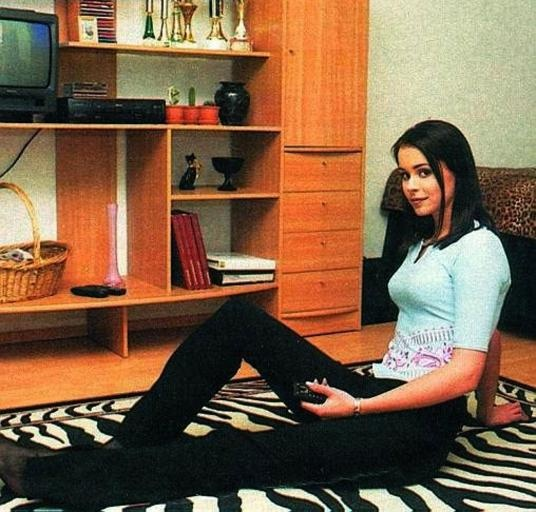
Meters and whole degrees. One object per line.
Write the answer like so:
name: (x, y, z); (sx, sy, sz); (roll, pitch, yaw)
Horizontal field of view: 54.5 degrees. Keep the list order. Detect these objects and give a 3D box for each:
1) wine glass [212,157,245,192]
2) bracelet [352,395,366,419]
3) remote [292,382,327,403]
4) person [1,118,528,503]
wine glass: (-0.188, -0.374, 2.492); (0.230, 0.179, 0.190); (0, -2, -5)
bracelet: (0.177, 0.300, 1.028); (0.038, 0.032, 0.034); (4, -22, 8)
remote: (0.082, 0.282, 1.071); (0.063, 0.015, 0.041); (12, 31, -9)
person: (0.018, 0.102, 1.066); (0.953, 0.776, 0.344); (-1, 9, -11)
